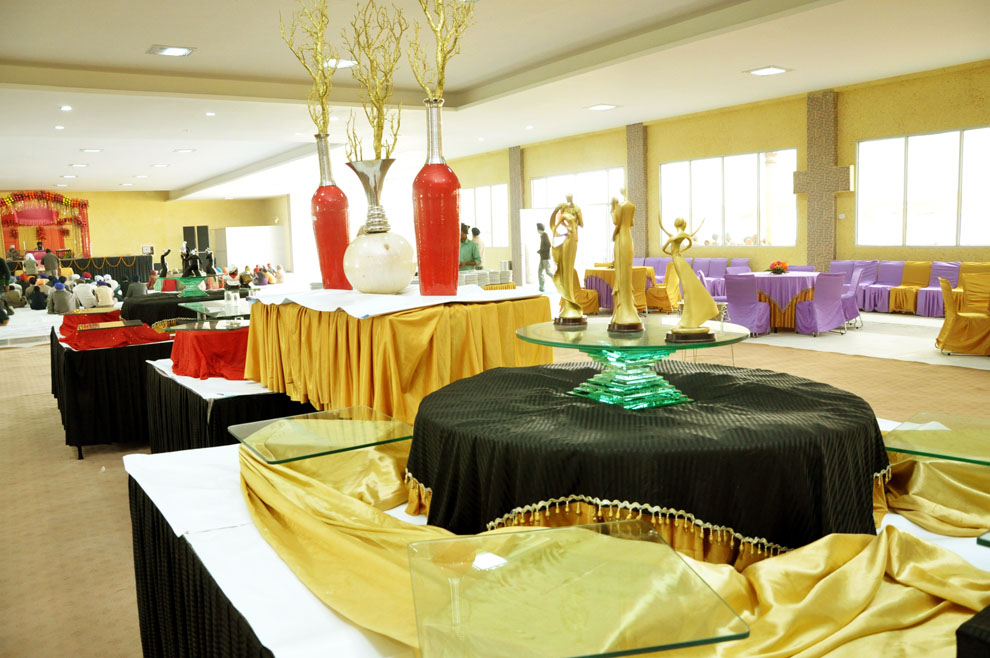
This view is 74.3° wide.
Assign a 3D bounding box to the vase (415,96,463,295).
[{"bbox_3d":[-0.323,-0.704,3.547,0.263,1.039,0.285,-5,12,-7],"label":"vase"}]
